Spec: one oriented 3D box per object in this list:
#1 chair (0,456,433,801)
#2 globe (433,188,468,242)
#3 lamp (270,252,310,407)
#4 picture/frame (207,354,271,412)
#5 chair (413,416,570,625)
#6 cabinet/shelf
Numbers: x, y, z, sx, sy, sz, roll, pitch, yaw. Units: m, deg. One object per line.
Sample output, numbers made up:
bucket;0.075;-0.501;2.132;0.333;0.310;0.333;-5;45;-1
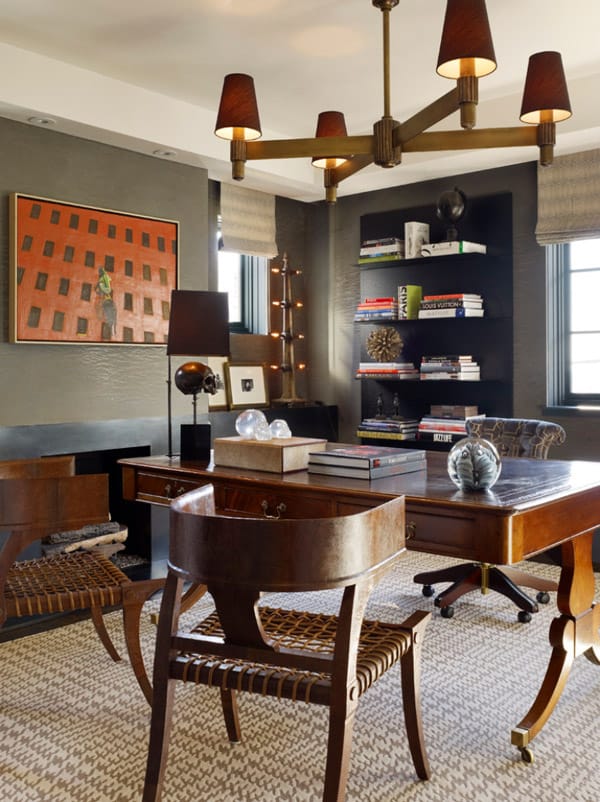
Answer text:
chair;-0.020;0.482;1.251;0.439;0.634;0.529;1;4;22
globe;0.986;-1.240;4.226;0.261;0.344;0.219;0;-6;9
lamp;-0.100;-0.575;5.061;0.282;1.181;0.637;-1;3;1
picture/frame;-0.439;-0.114;4.409;0.033;0.264;0.434;-8;-7;34
chair;0.754;0.531;3.117;0.806;1.067;0.804;-3;-9;38
cabinet/shelf;0.819;-0.329;4.498;0.440;1.326;1.233;-4;4;-40
